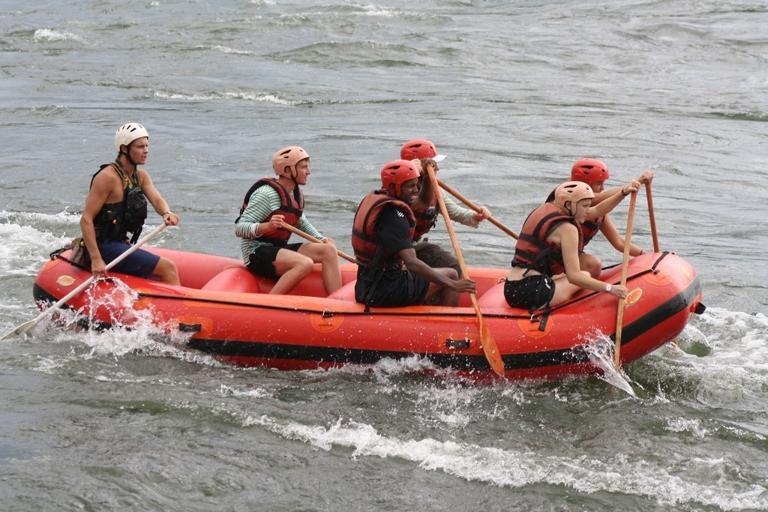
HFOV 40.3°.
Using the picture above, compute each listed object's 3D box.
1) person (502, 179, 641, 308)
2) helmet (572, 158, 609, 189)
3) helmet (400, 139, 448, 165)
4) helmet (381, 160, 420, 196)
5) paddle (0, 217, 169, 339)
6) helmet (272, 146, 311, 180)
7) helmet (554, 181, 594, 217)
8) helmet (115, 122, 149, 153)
[{"bbox_3d":[2.398,-0.146,13.915,1.460,1.726,1.096,4,21,3],"label":"person"},{"bbox_3d":[2.860,-1.161,14.419,0.637,0.361,0.369,5,17,9],"label":"helmet"},{"bbox_3d":[0.497,-1.445,14.454,0.825,0.244,0.382,-1,7,1],"label":"helmet"},{"bbox_3d":[0.249,-1.039,13.921,0.650,0.319,0.401,-4,14,19],"label":"helmet"},{"bbox_3d":[-4.267,0.377,14.906,4.014,0.319,0.340,-24,16,-4],"label":"paddle"},{"bbox_3d":[-1.346,-1.345,14.885,0.704,0.329,0.392,-7,5,1],"label":"helmet"},{"bbox_3d":[2.588,-0.750,13.766,0.553,0.326,0.419,3,1,41],"label":"helmet"},{"bbox_3d":[-3.524,-1.662,14.540,0.408,0.357,0.405,-2,19,-12],"label":"helmet"}]
